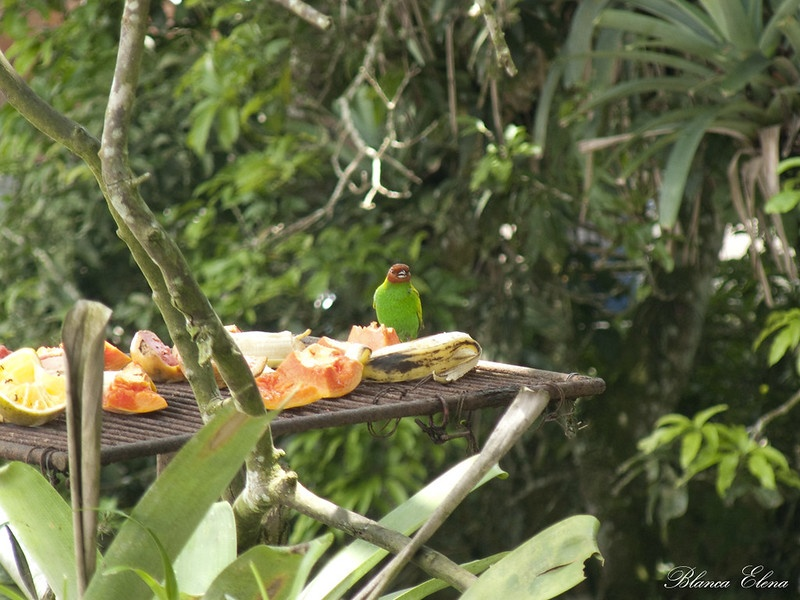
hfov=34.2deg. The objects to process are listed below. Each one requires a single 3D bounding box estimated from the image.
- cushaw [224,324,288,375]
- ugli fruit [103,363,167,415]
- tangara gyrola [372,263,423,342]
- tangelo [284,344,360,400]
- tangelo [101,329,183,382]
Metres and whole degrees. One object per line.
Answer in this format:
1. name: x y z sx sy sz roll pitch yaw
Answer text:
1. cushaw: -0.387 0.127 3.545 0.158 0.096 0.060 3 32 -4
2. ugli fruit: -0.687 0.232 3.366 0.157 0.088 0.225 -12 7 -13
3. tangara gyrola: -0.007 0.012 4.364 0.158 0.258 0.166 -2 8 -4
4. tangelo: -0.190 0.174 3.408 0.179 0.127 0.185 -8 9 -42
5. tangelo: -0.685 0.167 3.510 0.073 0.168 0.153 -51 6 12
